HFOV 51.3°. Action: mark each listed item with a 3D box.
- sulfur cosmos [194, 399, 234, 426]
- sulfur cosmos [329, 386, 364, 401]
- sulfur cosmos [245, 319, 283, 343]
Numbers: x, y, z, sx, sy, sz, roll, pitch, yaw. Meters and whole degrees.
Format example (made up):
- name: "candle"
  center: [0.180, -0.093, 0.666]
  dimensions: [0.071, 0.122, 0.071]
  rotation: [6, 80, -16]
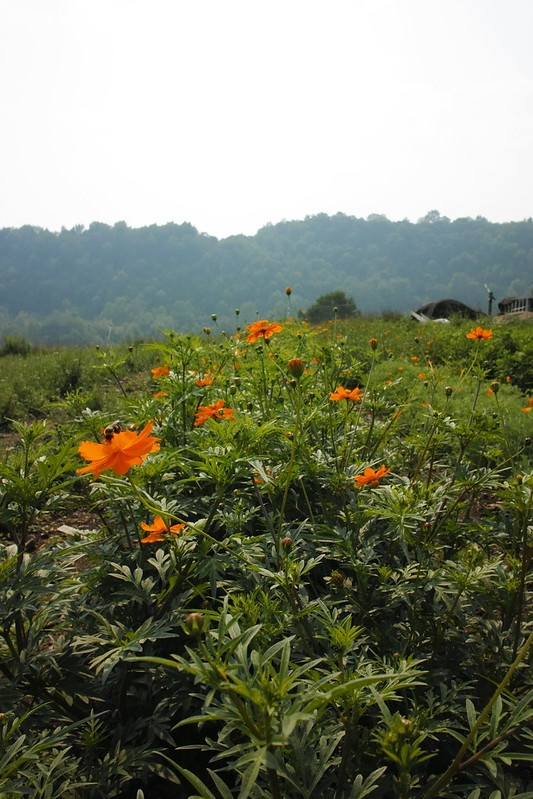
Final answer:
- name: "sulfur cosmos"
  center: [-0.202, 0.058, 2.208]
  dimensions: [0.126, 0.066, 0.129]
  rotation: [5, 18, 24]
- name: "sulfur cosmos"
  center: [0.331, -0.024, 2.308]
  dimensions: [0.088, 0.046, 0.089]
  rotation: [2, 9, 11]
- name: "sulfur cosmos"
  center: [-0.021, -0.344, 2.692]
  dimensions: [0.151, 0.047, 0.155]
  rotation: [4, 22, 28]
